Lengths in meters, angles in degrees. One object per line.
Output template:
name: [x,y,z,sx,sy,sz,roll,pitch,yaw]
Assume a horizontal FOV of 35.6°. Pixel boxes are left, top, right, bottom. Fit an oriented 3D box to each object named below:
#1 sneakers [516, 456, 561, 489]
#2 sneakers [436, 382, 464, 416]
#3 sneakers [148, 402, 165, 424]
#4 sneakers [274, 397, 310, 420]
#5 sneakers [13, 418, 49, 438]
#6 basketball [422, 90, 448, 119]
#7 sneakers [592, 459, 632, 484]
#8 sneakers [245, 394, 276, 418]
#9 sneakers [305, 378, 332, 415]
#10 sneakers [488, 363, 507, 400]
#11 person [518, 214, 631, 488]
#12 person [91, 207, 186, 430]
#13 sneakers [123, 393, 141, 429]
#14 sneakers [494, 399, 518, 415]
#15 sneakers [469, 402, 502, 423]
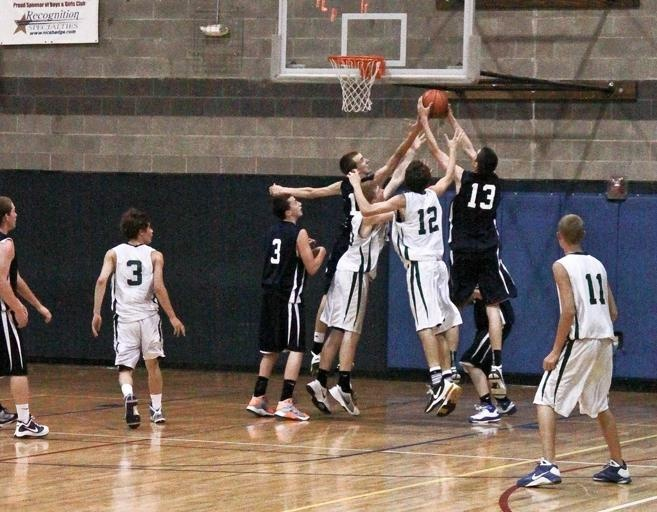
sneakers: [1.550,1.654,7.771,0.411,0.270,0.149,-3,-6,10]
sneakers: [1.052,1.290,9.221,0.189,0.359,0.246,0,11,3]
sneakers: [-1.654,1.518,9.813,0.082,0.120,0.254,0,-5,-21]
sneakers: [-0.376,1.499,10.012,0.345,0.226,0.291,-1,11,-1]
sneakers: [-2.664,1.540,9.184,0.315,0.179,0.139,-1,3,-18]
basketball: [1.058,-1.514,10.500,0.281,0.287,0.298,3,42,3]
sneakers: [2.125,1.643,7.855,0.321,0.165,0.127,1,-1,32]
sneakers: [-0.689,1.482,10.144,0.373,0.187,0.128,22,-5,-44]
sneakers: [-0.124,1.371,10.126,0.190,0.421,0.140,-48,31,-21]
sneakers: [1.596,1.203,9.966,0.144,0.382,0.175,-2,48,15]
person: [1.859,0.734,7.752,0.842,2.043,0.605,0,11,-1]
person: [-1.857,0.614,9.880,0.821,2.174,1.313,-3,11,-14]
sneakers: [-1.809,1.418,9.451,0.135,0.333,0.138,-13,12,-24]
sneakers: [1.737,1.502,10.231,0.265,0.140,0.104,-1,11,18]
sneakers: [1.446,1.539,9.965,0.375,0.169,0.127,-1,-4,-7]
